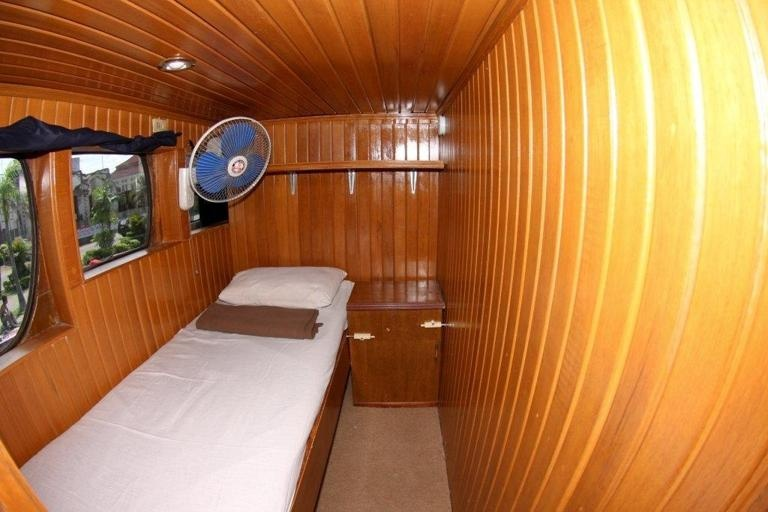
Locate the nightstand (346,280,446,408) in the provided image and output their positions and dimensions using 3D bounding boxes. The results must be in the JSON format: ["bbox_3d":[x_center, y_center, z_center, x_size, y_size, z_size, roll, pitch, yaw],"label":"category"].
[{"bbox_3d":[0.118,0.631,4.216,0.711,0.698,0.869,1,-67,5],"label":"nightstand"}]
